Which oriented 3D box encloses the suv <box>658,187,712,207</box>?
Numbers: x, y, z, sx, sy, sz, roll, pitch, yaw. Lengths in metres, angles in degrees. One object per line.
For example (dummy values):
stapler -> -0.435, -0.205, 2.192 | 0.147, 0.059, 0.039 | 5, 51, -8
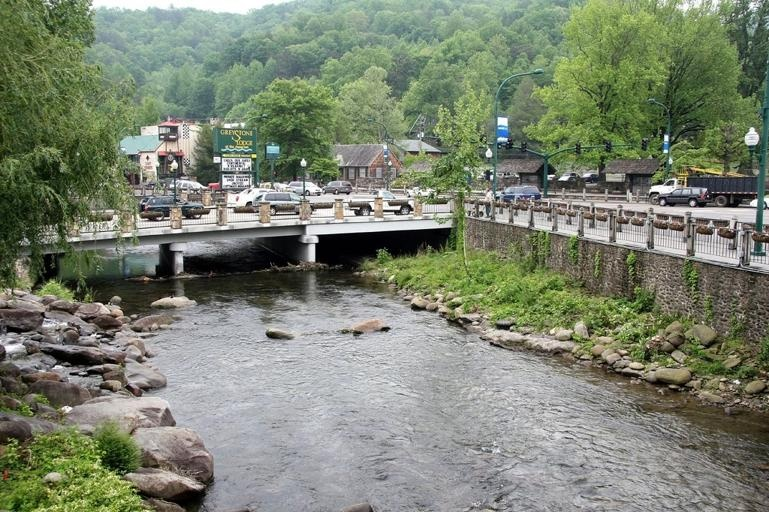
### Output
suv -> 22.594, -4.495, 52.586 | 2.859, 1.197, 1.392 | 9, 10, 42
